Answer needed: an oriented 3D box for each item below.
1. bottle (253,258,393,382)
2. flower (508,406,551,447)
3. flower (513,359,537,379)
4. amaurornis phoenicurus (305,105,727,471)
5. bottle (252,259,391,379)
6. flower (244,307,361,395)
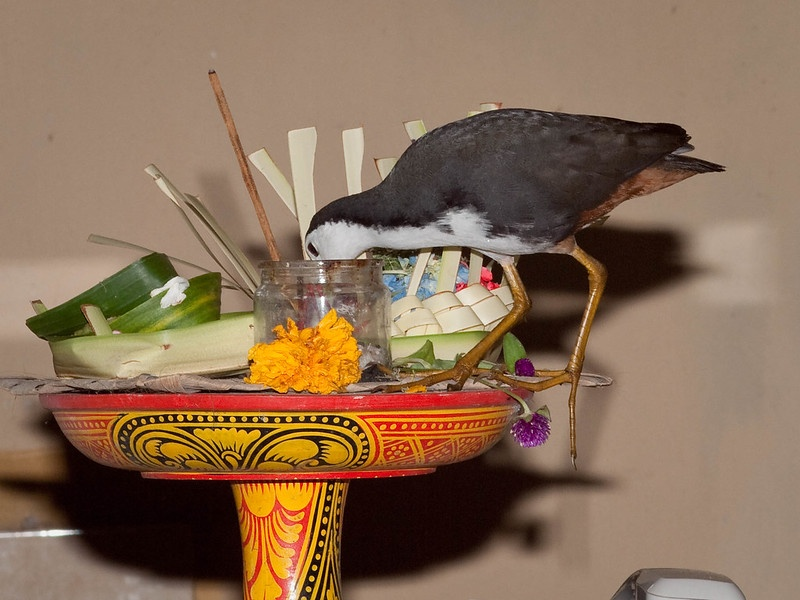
[{"bbox_3d":[-0.101,0.034,1.581,0.185,0.177,0.158,0,85,-21],"label":"bottle"},{"bbox_3d":[0.176,0.182,1.467,0.045,0.036,0.055,-18,52,-2],"label":"flower"},{"bbox_3d":[0.173,0.095,1.499,0.025,0.024,0.025,16,65,-22],"label":"flower"},{"bbox_3d":[0.171,-0.051,1.650,0.615,0.441,0.274,-11,15,-6],"label":"amaurornis phoenicurus"},{"bbox_3d":[-0.102,0.034,1.574,0.176,0.167,0.148,-3,85,17],"label":"bottle"},{"bbox_3d":[-0.108,0.060,1.442,0.128,0.063,0.143,6,22,35],"label":"flower"}]
